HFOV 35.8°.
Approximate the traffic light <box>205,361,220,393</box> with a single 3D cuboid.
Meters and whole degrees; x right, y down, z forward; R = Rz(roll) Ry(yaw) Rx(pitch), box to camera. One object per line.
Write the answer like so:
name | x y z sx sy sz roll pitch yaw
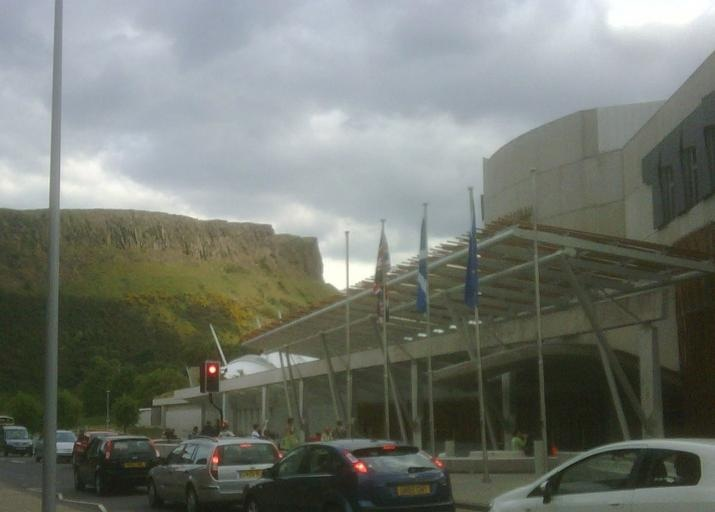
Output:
traffic light | -6.386 5.129 48.676 0.699 1.366 0.709 4 -14 -18
